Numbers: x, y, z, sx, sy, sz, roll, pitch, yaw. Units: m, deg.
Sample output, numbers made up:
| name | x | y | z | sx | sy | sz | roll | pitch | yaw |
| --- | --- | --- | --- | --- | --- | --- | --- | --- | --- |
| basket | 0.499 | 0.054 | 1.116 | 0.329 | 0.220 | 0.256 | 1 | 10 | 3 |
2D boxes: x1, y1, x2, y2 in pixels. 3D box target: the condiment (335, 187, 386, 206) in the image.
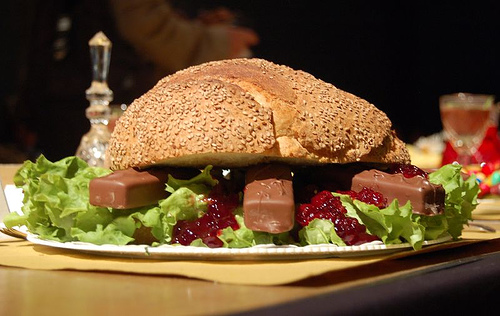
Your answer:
| name | x | y | z | sx | sy | sz | roll | pitch | yaw |
| --- | --- | --- | --- | --- | --- | --- | --- | --- | --- |
| condiment | 0.318 | 0.107 | 1.297 | 0.111 | 0.044 | 0.098 | -1 | 23 | 23 |

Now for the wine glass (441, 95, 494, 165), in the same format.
| name | x | y | z | sx | sy | sz | roll | pitch | yaw |
| --- | --- | --- | --- | --- | --- | --- | --- | --- | --- |
| wine glass | 1.050 | -0.151 | 2.205 | 0.211 | 0.388 | 0.173 | 2 | -6 | 4 |

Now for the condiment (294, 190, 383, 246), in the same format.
| name | x | y | z | sx | sy | sz | roll | pitch | yaw |
| --- | --- | --- | --- | --- | --- | --- | --- | --- | --- |
| condiment | 0.238 | 0.162 | 1.228 | 0.193 | 0.047 | 0.128 | 35 | 34 | 24 |

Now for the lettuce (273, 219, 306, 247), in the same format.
| name | x | y | z | sx | sy | sz | roll | pitch | yaw |
| --- | --- | --- | --- | --- | --- | --- | --- | --- | --- |
| lettuce | 0.104 | 0.214 | 1.243 | 0.063 | 0.073 | 0.068 | -12 | 22 | -40 |
